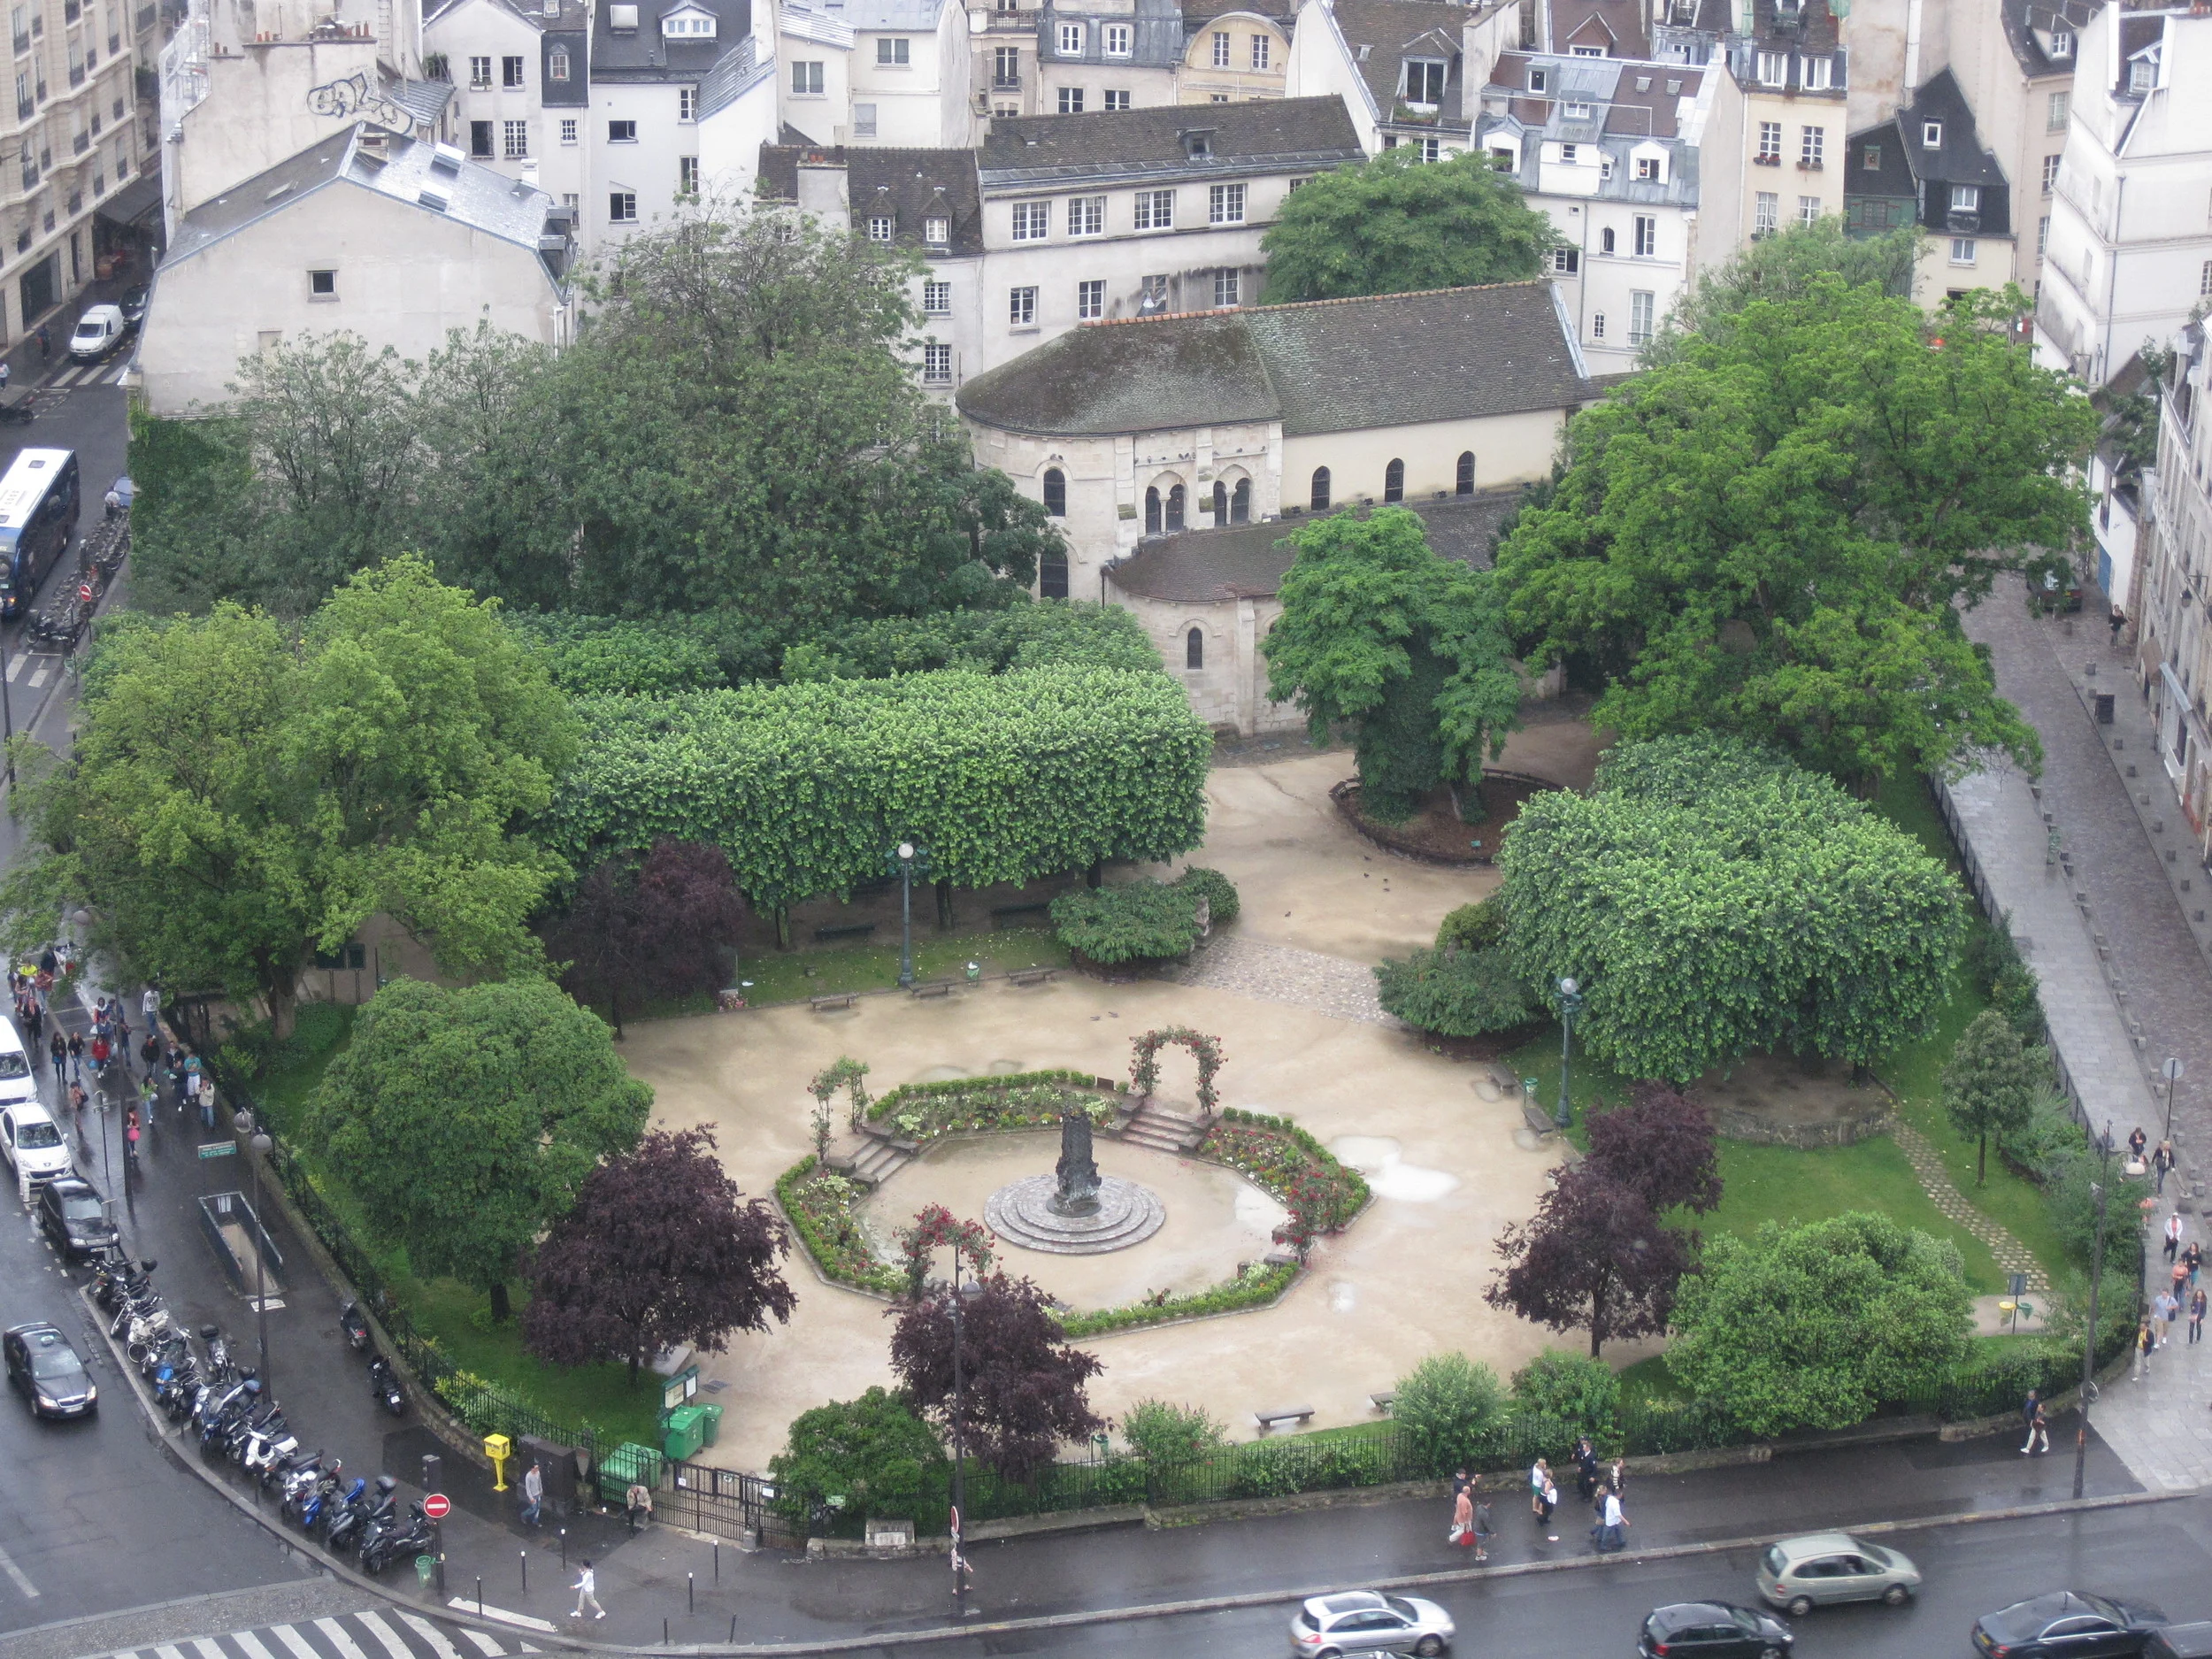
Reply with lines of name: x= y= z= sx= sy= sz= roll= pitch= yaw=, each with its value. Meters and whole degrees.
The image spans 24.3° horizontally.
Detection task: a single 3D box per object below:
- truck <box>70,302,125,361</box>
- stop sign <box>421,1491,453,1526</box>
truck: x=-51.143 y=-25.375 z=260.811 sx=1.766 sy=1.532 sz=4.080 roll=9 pitch=28 yaw=-5
stop sign: x=-22.715 y=23.383 z=175.589 sx=1.169 sy=1.241 sz=0.279 roll=18 pitch=20 yaw=22
